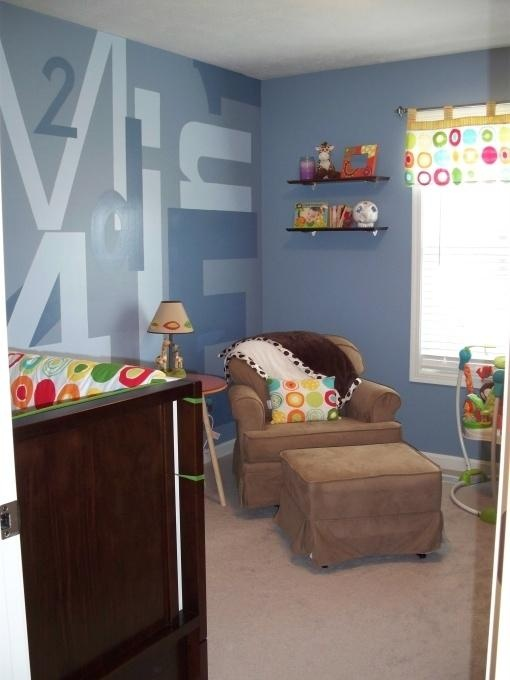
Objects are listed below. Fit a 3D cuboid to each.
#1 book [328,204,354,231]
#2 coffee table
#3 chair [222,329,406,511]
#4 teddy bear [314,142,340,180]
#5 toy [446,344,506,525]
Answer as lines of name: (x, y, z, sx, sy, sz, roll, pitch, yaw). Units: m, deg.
book: (0.648, -0.942, 4.104, 0.147, 0.219, 0.071, 5, 6, 31)
coffee table: (-0.327, 0.585, 3.425, 0.270, 0.520, 0.290, -5, -2, -9)
chair: (0.367, 0.512, 3.582, 1.007, 1.022, 1.015, -1, 1, -1)
teddy bear: (0.528, -1.349, 4.093, 0.211, 0.384, 0.285, 1, 5, 6)
toy: (1.423, 0.525, 3.458, 0.300, 0.963, 0.935, 2, 7, 24)
